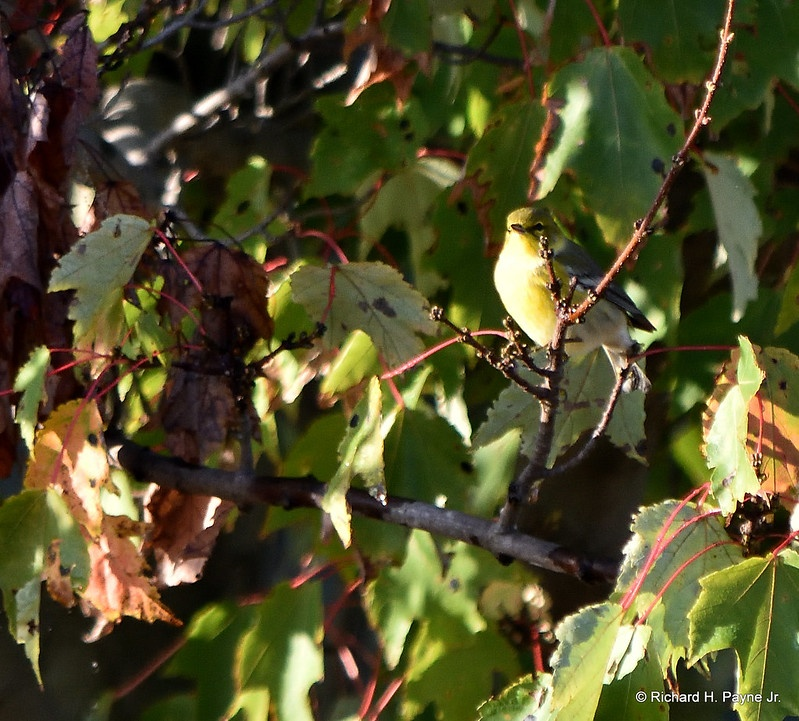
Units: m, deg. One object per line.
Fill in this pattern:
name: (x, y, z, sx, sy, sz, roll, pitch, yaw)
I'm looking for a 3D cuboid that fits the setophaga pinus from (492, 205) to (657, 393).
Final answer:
setophaga pinus: (0.461, -0.167, 3.380, 0.459, 0.455, 0.499, -9, 2, 28)
